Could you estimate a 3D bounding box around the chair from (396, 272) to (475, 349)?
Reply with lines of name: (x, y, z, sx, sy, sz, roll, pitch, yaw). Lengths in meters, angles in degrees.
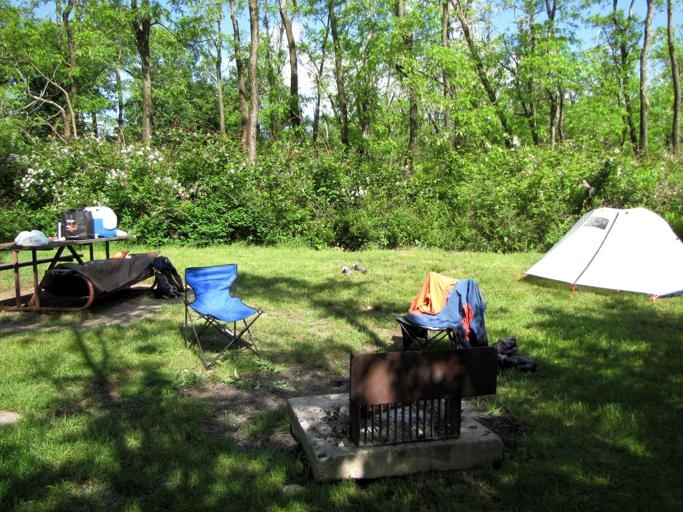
chair: (1.707, 1.120, 11.644, 1.388, 1.480, 1.229, 7, 12, 34)

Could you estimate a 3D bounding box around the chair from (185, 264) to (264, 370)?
chair: (-2.116, 1.024, 11.818, 1.231, 1.643, 1.324, 1, 11, -4)
